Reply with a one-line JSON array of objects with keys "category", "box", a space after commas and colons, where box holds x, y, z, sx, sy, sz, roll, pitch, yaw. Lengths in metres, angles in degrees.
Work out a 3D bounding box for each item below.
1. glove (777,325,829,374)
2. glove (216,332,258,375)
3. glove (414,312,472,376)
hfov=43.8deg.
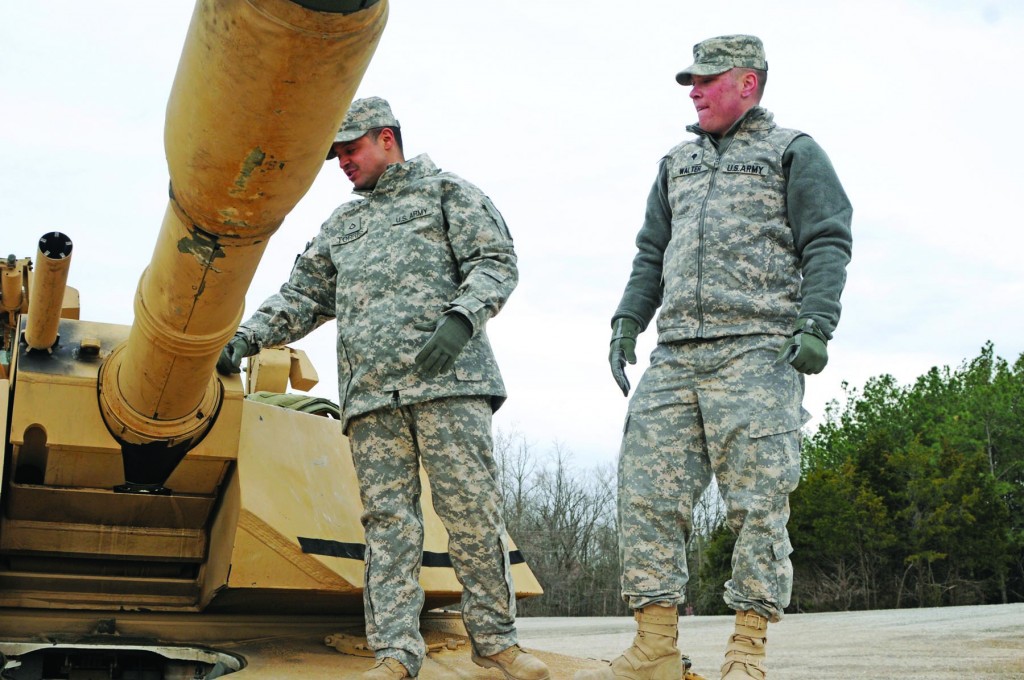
[{"category": "glove", "box": [1.415, 0.050, 6.194, 0.160, 0.162, 0.256, 5, -2, -19]}, {"category": "glove", "box": [-1.419, 0.059, 6.530, 0.142, 0.190, 0.095, 43, -13, 31]}, {"category": "glove", "box": [-0.352, 0.024, 6.229, 0.211, 0.335, 0.099, 30, 1, -21]}]
